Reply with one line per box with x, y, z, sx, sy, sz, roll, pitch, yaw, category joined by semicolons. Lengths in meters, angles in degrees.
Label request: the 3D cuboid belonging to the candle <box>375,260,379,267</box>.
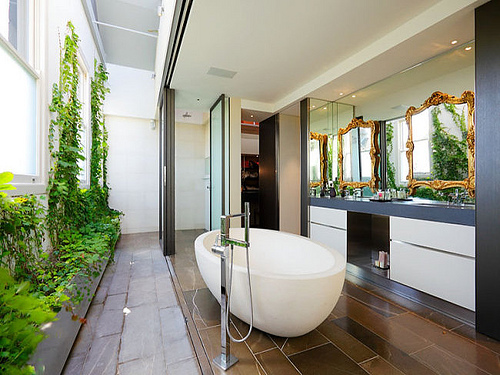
1.599;0.952;4.000;0.023;0.070;0.076;3;-6;-8;candle

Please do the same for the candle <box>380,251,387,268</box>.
1.654;0.890;3.927;0.078;0.186;0.038;-1;1;24;candle
